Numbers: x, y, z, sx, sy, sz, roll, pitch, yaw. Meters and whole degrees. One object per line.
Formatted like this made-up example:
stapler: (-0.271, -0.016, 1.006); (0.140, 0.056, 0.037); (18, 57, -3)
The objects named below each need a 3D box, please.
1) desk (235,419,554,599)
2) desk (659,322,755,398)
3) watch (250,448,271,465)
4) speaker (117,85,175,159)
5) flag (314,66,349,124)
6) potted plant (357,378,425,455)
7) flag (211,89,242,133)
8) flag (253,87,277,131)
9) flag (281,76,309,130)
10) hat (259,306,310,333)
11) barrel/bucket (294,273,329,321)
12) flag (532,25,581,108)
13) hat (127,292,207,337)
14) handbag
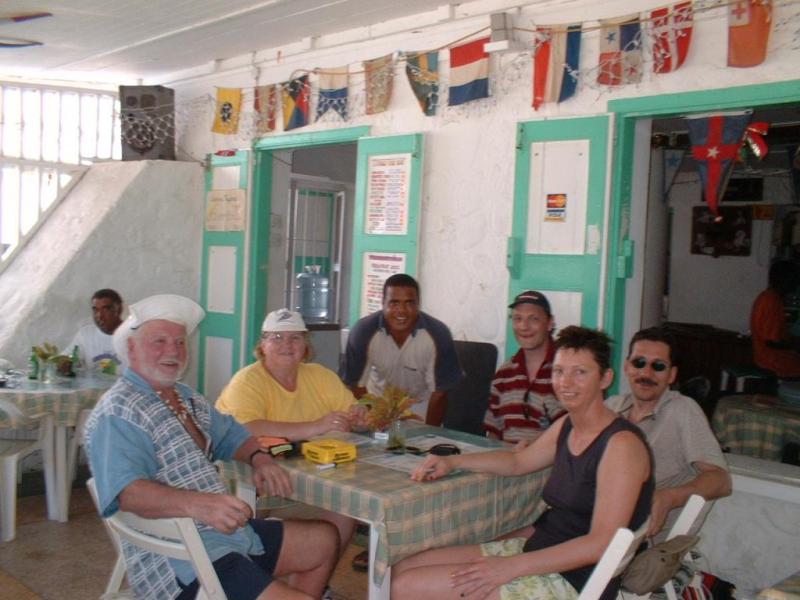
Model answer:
desk: (0.136, 0.865, 2.744); (0.829, 0.276, 0.809); (0, 3, -43)
desk: (3.170, 0.625, 6.319); (1.027, 0.696, 0.573); (4, 6, 45)
watch: (-0.642, 0.711, 2.813); (0.025, 0.062, 0.068); (20, 10, 17)
speaker: (-2.972, -2.097, 7.121); (0.517, 0.875, 0.489); (-6, 36, -28)
flag: (-0.658, -1.903, 5.775); (0.425, 0.490, 0.095); (3, 4, 41)
potted plant: (-0.044, 0.630, 3.263); (0.269, 0.273, 0.256); (-5, -13, -11)
flag: (-1.849, -2.017, 6.618); (0.475, 0.536, 0.066); (17, 18, 29)
flag: (-1.367, -1.953, 6.306); (0.470, 0.494, 0.044); (9, 9, 39)
flag: (-1.032, -1.926, 6.065); (0.373, 0.498, 0.048); (2, 4, 37)
hat: (-0.865, 0.136, 4.484); (0.328, 0.154, 0.446); (0, -3, -11)
barrel/bucket: (-1.322, -0.073, 9.004); (0.537, 0.710, 0.429); (1, 5, -14)
flag: (1.142, -1.708, 4.518); (0.353, 0.549, 0.116); (2, 4, 34)
hat: (-1.076, 0.053, 2.654); (0.298, 0.074, 0.315); (-5, 27, -41)
handbag: (1.052, 1.029, 2.487); (0.317, 0.147, 0.199); (-40, 37, -17)
